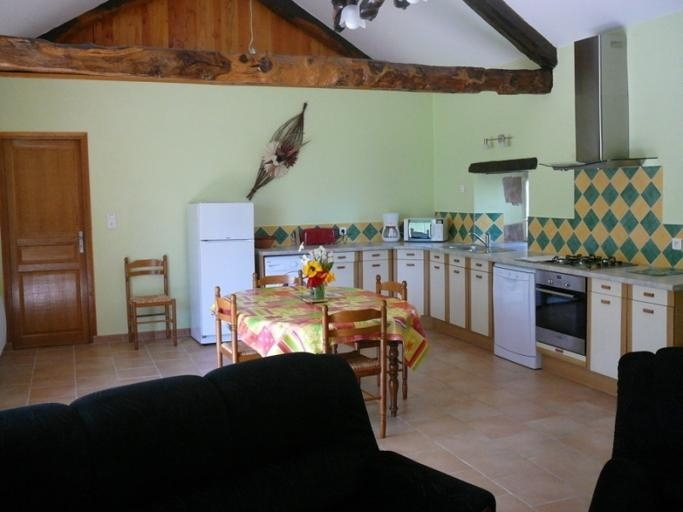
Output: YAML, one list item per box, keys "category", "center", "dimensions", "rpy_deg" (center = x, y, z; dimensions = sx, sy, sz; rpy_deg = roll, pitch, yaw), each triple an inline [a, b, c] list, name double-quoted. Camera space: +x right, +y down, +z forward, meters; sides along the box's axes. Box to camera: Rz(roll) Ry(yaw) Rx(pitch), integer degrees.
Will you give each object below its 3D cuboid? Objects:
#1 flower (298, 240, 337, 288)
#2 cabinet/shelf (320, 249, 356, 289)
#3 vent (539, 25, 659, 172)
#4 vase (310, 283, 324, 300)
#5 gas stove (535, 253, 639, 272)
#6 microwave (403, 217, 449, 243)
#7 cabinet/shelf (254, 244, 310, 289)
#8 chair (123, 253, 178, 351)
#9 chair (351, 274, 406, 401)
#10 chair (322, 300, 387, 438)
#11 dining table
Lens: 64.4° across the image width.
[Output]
- category: "flower"
  center: [-0.195, 0.086, 4.553]
  dimensions: [0.245, 0.367, 0.296]
  rpy_deg: [-1, 8, 2]
- category: "cabinet/shelf"
  center: [0.015, 0.126, 7.274]
  dimensions: [0.429, 0.549, 0.432]
  rpy_deg: [-2, 23, -5]
- category: "vent"
  center: [2.621, -1.523, 5.459]
  dimensions: [0.927, 1.284, 1.115]
  rpy_deg: [-2, 7, 15]
- category: "vase"
  center: [-0.198, 0.293, 4.551]
  dimensions: [0.119, 0.138, 0.121]
  rpy_deg: [0, -3, -2]
- category: "gas stove"
  center: [2.359, 0.051, 5.167]
  dimensions: [0.802, 0.057, 0.499]
  rpy_deg: [2, 9, 22]
- category: "microwave"
  center: [1.153, -0.366, 7.516]
  dimensions: [0.482, 0.319, 0.341]
  rpy_deg: [0, -1, 30]
- category: "cabinet/shelf"
  center: [-0.779, 0.242, 7.037]
  dimensions: [0.597, 0.601, 0.424]
  rpy_deg: [-2, 6, -30]
- category: "chair"
  center: [-2.328, 0.541, 6.647]
  dimensions: [0.604, 1.059, 0.629]
  rpy_deg: [-4, 8, -21]
- category: "chair"
  center: [0.341, 0.797, 4.769]
  dimensions: [0.362, 0.750, 0.351]
  rpy_deg: [-8, -7, 11]
- category: "chair"
  center: [0.087, 0.758, 4.259]
  dimensions: [0.653, 0.988, 0.681]
  rpy_deg: [2, 10, 16]
- category: "dining table"
  center: [-0.198, 0.631, 4.777]
  dimensions: [1.808, 0.543, 1.721]
  rpy_deg: [3, -13, 27]
